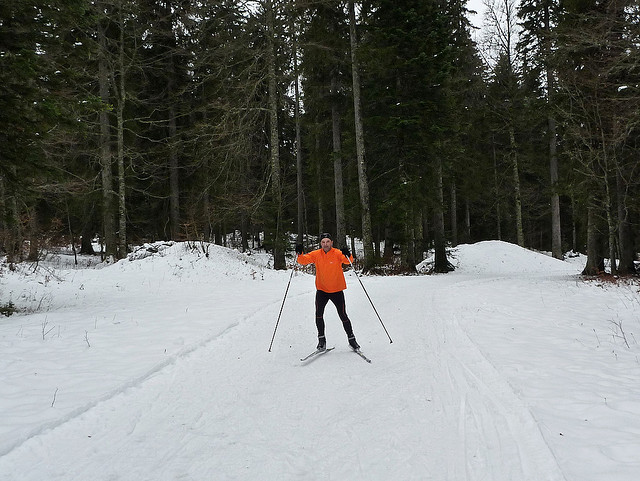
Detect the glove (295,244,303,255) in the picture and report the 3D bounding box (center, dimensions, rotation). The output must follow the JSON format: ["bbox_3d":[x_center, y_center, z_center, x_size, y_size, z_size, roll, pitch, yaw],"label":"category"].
[{"bbox_3d":[-0.521,0.212,13.103,0.168,0.230,0.427,0,-1,-3],"label":"glove"}]

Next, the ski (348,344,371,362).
[{"bbox_3d":[0.930,2.607,12.558,0.161,0.074,0.975,-31,19,-9],"label":"ski"}]

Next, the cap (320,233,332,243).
[{"bbox_3d":[0.147,-0.078,12.802,0.188,0.153,0.205,-1,-3,-3],"label":"cap"}]

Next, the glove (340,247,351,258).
[{"bbox_3d":[0.607,0.283,12.858,0.207,0.225,0.276,0,-1,16],"label":"glove"}]

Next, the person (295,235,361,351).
[{"bbox_3d":[0.189,1.252,12.673,1.296,2.884,0.973,-2,2,18],"label":"person"}]
